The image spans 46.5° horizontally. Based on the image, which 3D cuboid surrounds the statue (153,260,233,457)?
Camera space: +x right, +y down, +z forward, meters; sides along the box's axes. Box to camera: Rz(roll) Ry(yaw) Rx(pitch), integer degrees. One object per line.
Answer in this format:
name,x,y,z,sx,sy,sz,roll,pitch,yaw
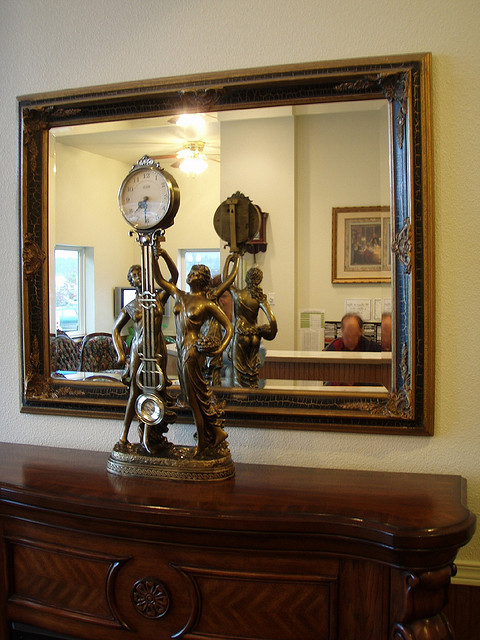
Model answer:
statue,-0.128,0.101,1.519,0.250,0.532,0.102,1,7,35
